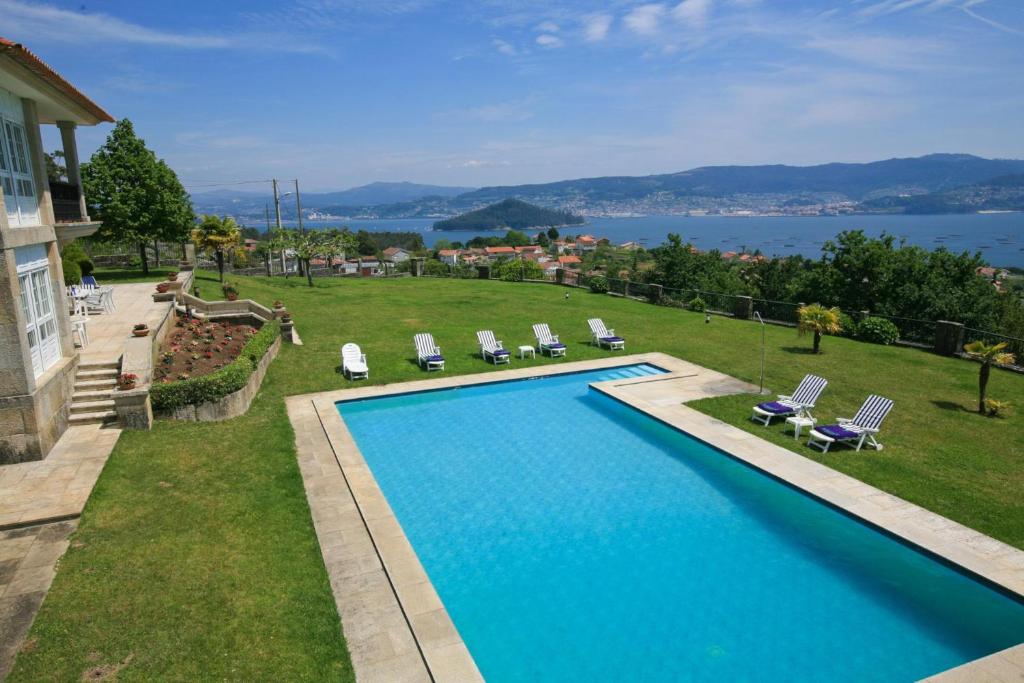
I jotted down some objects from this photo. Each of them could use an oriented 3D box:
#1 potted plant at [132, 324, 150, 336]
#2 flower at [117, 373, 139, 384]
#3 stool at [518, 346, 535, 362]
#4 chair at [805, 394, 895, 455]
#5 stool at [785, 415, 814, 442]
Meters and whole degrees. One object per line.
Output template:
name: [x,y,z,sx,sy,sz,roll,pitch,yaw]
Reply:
potted plant: [-12.817,-0.373,19.871,0.511,0.253,0.468,3,18,7]
flower: [-11.528,1.123,17.238,0.393,0.176,0.354,2,5,-9]
stool: [0.777,0.539,26.105,0.707,0.430,0.640,-4,11,-18]
chair: [10.319,2.538,17.450,2.424,1.196,1.228,-7,15,-20]
stool: [9.135,2.708,18.003,0.892,0.540,0.814,0,11,16]
